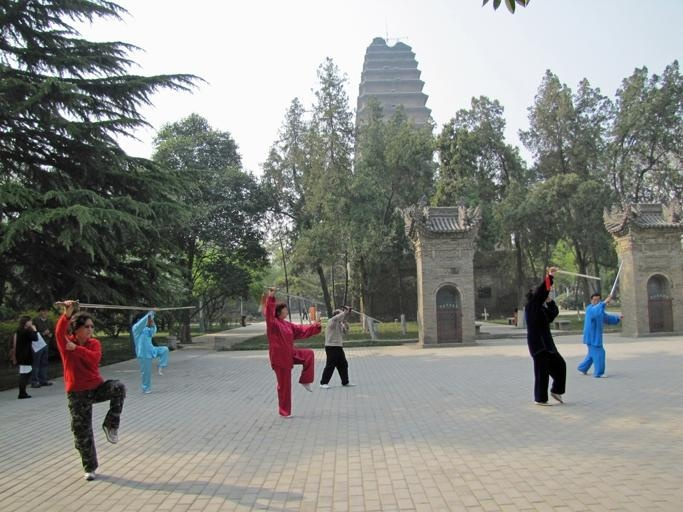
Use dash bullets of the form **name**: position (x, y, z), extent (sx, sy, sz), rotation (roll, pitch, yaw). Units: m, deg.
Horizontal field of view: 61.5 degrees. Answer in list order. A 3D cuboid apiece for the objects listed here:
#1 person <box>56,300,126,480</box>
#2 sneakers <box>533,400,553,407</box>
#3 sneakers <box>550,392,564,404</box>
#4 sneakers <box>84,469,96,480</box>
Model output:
- **person**: position (-4.016, 2.186, 9.228), extent (0.954, 2.710, 0.582), rotation (0, -5, -24)
- **sneakers**: position (4.210, 3.109, 11.958), extent (0.297, 0.129, 0.123), rotation (-5, -6, 21)
- **sneakers**: position (4.562, 3.049, 12.158), extent (0.081, 0.252, 0.096), rotation (-29, -11, -47)
- **sneakers**: position (-3.879, 3.451, 8.914), extent (0.089, 0.110, 0.233), rotation (5, -16, -10)
